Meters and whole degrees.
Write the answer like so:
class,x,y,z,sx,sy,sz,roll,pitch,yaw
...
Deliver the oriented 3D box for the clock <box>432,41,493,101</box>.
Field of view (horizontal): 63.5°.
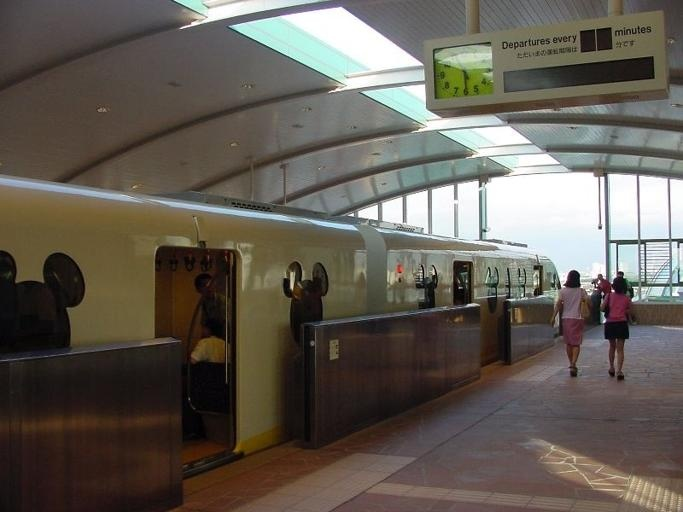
class,x,y,z,sx,sy,sz,roll,pitch,yaw
clock,1.491,-2.272,6.744,0.781,0.669,0.083,-2,-5,23
